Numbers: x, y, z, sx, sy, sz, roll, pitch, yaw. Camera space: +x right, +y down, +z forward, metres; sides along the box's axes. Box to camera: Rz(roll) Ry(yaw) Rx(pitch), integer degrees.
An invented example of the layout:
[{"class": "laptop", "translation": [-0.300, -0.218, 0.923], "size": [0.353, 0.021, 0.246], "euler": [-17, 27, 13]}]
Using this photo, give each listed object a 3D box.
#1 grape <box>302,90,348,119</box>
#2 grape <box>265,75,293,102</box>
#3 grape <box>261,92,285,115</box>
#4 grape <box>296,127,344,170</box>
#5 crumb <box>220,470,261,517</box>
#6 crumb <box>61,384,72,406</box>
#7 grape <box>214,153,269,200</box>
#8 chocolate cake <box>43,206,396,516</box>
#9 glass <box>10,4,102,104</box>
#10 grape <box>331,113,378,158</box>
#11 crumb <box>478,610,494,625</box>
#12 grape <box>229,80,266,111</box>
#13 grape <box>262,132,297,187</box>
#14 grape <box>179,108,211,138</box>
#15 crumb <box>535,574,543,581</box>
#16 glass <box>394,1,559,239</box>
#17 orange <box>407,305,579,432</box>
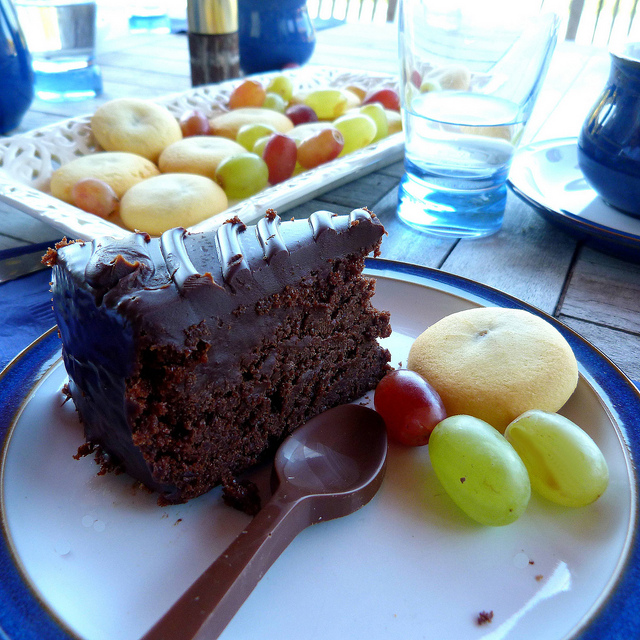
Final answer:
[{"class": "grape", "translation": [0.010, -0.491, 1.541], "size": [0.088, 0.056, 0.061], "euler": [-2, 0, 5]}, {"class": "grape", "translation": [-0.101, -0.561, 1.622], "size": [0.049, 0.052, 0.068], "euler": [6, 9, -3]}, {"class": "grape", "translation": [-0.108, -0.510, 1.558], "size": [0.043, 0.047, 0.058], "euler": [5, 12, -4]}, {"class": "grape", "translation": [0.006, -0.350, 1.327], "size": [0.096, 0.072, 0.067], "euler": [-7, 29, 50]}, {"class": "crumb", "translation": [-0.088, 0.187, 0.724], "size": [0.030, 0.019, 0.049], "euler": [-17, 35, -35]}, {"class": "crumb", "translation": [-0.306, 0.091, 0.796], "size": [0.009, 0.012, 0.028], "euler": [-11, 33, -7]}, {"class": "grape", "translation": [-0.141, -0.278, 1.263], "size": [0.092, 0.078, 0.075], "euler": [-19, 27, -34]}, {"class": "chocolate cake", "translation": [-0.092, 0.015, 0.843], "size": [0.408, 0.262, 0.315], "euler": [-15, 25, -24]}, {"class": "glass", "translation": [-0.677, -0.711, 1.726], "size": [0.203, 0.283, 0.199], "euler": [-15, 45, -18]}, {"class": "grape", "translation": [0.070, -0.391, 1.439], "size": [0.088, 0.066, 0.118], "euler": [2, -19, -19]}, {"class": "crumb", "translation": [0.155, 0.274, 0.608], "size": [0.009, 0.005, 0.011], "euler": [-10, 11, -16]}, {"class": "grape", "translation": [-0.172, -0.518, 1.537], "size": [0.080, 0.063, 0.059], "euler": [-21, 35, -10]}, {"class": "grape", "translation": [-0.075, -0.316, 1.290], "size": [0.058, 0.102, 0.068], "euler": [-2, -6, 39]}, {"class": "grape", "translation": [-0.272, -0.414, 1.414], "size": [0.054, 0.058, 0.076], "euler": [1, 5, -4]}, {"class": "crumb", "translation": [0.213, 0.251, 0.639], "size": [0.005, 0.002, 0.004], "euler": [-13, 30, -4]}, {"class": "glass", "translation": [0.257, -0.304, 1.236], "size": [0.191, 0.493, 0.208], "euler": [28, 40, 34]}, {"class": "orange", "translation": [0.216, 0.055, 0.816], "size": [0.180, 0.074, 0.177], "euler": [-10, 45, -12]}]
